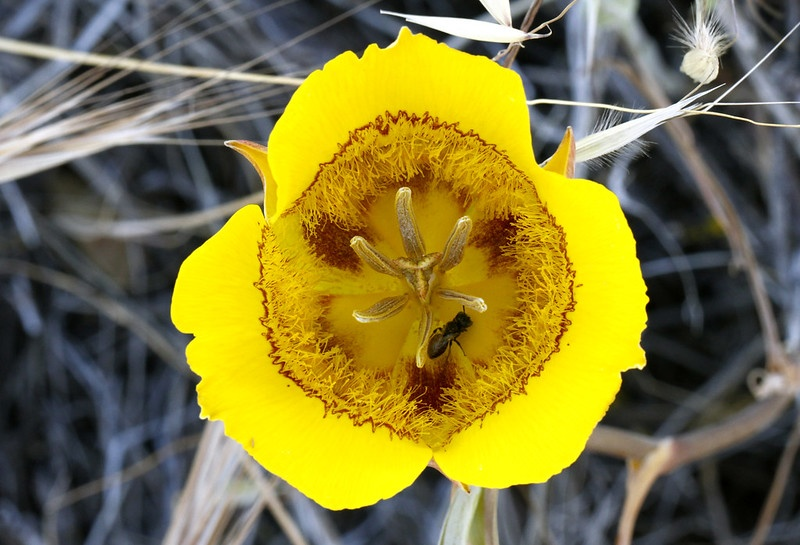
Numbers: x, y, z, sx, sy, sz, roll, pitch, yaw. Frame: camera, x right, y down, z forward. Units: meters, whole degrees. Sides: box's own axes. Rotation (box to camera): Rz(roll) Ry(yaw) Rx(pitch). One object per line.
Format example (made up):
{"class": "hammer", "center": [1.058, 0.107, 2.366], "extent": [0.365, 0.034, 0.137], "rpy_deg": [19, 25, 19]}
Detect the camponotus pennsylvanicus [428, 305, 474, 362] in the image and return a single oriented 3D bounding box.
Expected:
{"class": "camponotus pennsylvanicus", "center": [0.217, 0.266, 4.098], "extent": [0.163, 0.162, 0.230], "rpy_deg": [-3, 107, -16]}

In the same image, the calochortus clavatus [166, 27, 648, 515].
{"class": "calochortus clavatus", "center": [0.099, 0.102, 3.911], "extent": [1.750, 0.616, 1.869], "rpy_deg": [33, 83, 6]}
